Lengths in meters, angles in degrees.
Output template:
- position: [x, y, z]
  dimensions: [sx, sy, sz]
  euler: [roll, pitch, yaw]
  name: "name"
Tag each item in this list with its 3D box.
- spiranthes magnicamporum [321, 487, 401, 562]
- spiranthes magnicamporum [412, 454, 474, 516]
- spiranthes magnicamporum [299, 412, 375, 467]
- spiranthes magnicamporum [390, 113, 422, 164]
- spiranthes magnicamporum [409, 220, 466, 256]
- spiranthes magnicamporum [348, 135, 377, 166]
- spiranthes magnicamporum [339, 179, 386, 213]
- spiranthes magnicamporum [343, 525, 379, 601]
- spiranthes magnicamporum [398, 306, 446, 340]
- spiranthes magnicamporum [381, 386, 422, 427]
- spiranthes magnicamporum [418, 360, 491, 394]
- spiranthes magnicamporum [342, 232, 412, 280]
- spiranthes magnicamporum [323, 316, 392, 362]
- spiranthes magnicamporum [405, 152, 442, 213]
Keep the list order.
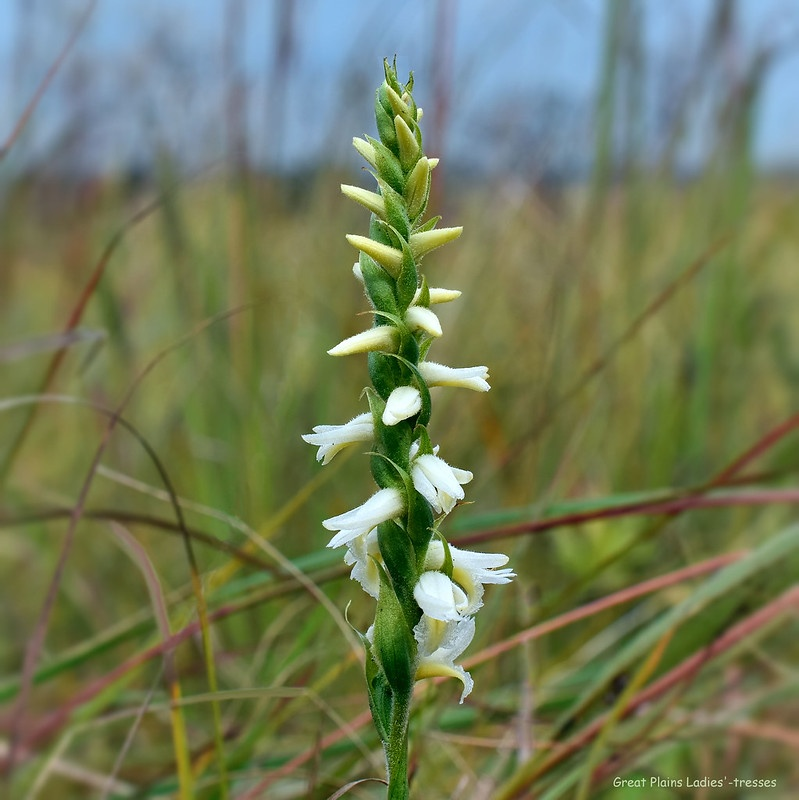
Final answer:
- position: [-0.063, 0.223, 1.591]
  dimensions: [0.141, 0.082, 0.067]
  euler: [-35, -22, 13]
  name: "spiranthes magnicamporum"
- position: [0.070, 0.142, 1.602]
  dimensions: [0.088, 0.118, 0.137]
  euler: [0, 19, 12]
  name: "spiranthes magnicamporum"
- position: [-0.115, 0.060, 1.680]
  dimensions: [0.138, 0.086, 0.056]
  euler: [-34, -26, 30]
  name: "spiranthes magnicamporum"
- position: [0.013, -0.443, 1.577]
  dimensions: [0.040, 0.088, 0.032]
  euler: [-3, 16, 0]
  name: "spiranthes magnicamporum"
- position: [0.075, -0.301, 1.680]
  dimensions: [0.085, 0.057, 0.208]
  euler: [0, 20, 11]
  name: "spiranthes magnicamporum"
- position: [-0.060, -0.440, 1.619]
  dimensions: [0.013, 0.062, 0.059]
  euler: [-26, 2, 2]
  name: "spiranthes magnicamporum"
- position: [-0.065, -0.355, 1.622]
  dimensions: [0.070, 0.061, 0.122]
  euler: [-5, 19, -3]
  name: "spiranthes magnicamporum"
- position: [-0.063, 0.289, 1.639]
  dimensions: [0.036, 0.121, 0.079]
  euler: [-16, 20, -13]
  name: "spiranthes magnicamporum"
- position: [0.038, -0.135, 1.561]
  dimensions: [0.022, 0.045, 0.067]
  euler: [-16, 36, -28]
  name: "spiranthes magnicamporum"
- position: [0.001, 0.017, 1.548]
  dimensions: [0.076, 0.064, 0.051]
  euler: [-12, 19, -22]
  name: "spiranthes magnicamporum"
- position: [0.106, -0.030, 1.655]
  dimensions: [0.141, 0.055, 0.054]
  euler: [6, 12, -15]
  name: "spiranthes magnicamporum"
- position: [-0.046, -0.251, 1.577]
  dimensions: [0.097, 0.086, 0.080]
  euler: [-9, 19, -15]
  name: "spiranthes magnicamporum"
- position: [-0.055, -0.110, 1.602]
  dimensions: [0.160, 0.056, 0.046]
  euler: [-16, -14, -39]
  name: "spiranthes magnicamporum"
- position: [0.031, -0.365, 1.585]
  dimensions: [0.045, 0.103, 0.038]
  euler: [-5, 17, -6]
  name: "spiranthes magnicamporum"
